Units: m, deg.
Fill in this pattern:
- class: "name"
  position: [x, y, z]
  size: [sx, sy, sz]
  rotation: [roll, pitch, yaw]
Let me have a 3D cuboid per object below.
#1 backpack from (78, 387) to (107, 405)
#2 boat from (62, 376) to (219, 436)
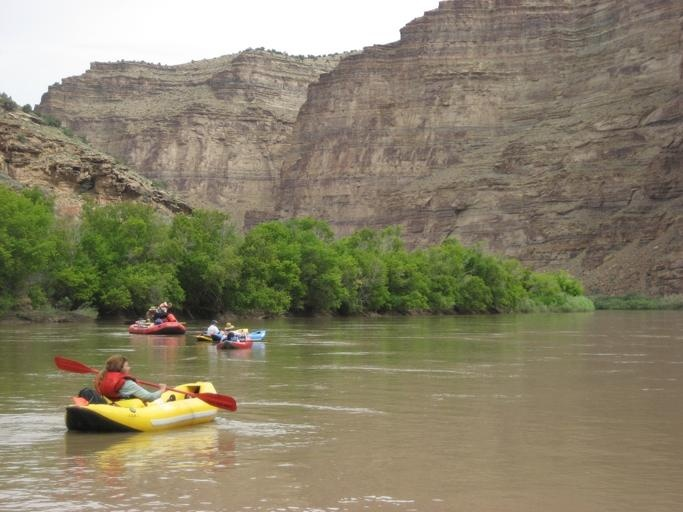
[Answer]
- class: "backpack"
  position: [-13.622, 7.660, 69.798]
  size: [1.217, 0.383, 0.870]
  rotation: [25, 4, 7]
- class: "boat"
  position: [-10.766, 8.607, 69.713]
  size: [8.652, 2.133, 6.906]
  rotation: [0, 2, 31]
